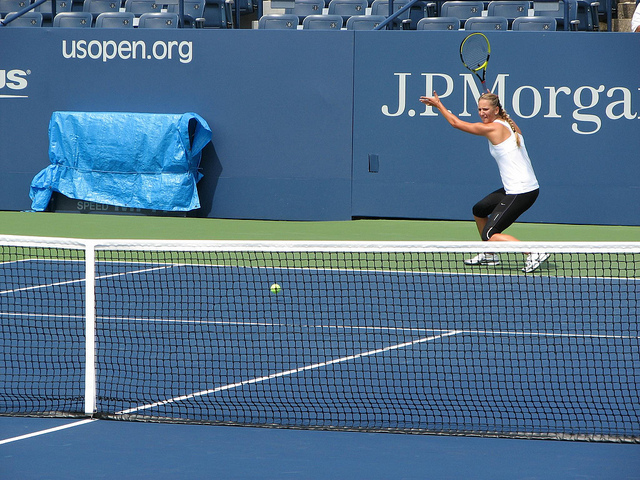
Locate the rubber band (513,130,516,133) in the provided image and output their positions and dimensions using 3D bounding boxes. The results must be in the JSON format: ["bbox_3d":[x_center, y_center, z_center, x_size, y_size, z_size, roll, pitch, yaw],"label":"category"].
[{"bbox_3d":[2.040,-1.107,11.642,0.028,0.031,0.007,2,-3,4],"label":"rubber band"}]

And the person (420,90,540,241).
[{"bbox_3d":[1.536,-0.747,11.905,1.447,2.362,1.195,2,5,18],"label":"person"}]

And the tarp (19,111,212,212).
[{"bbox_3d":[-2.637,-0.982,14.852,2.249,1.485,0.468,8,24,5],"label":"tarp"}]
